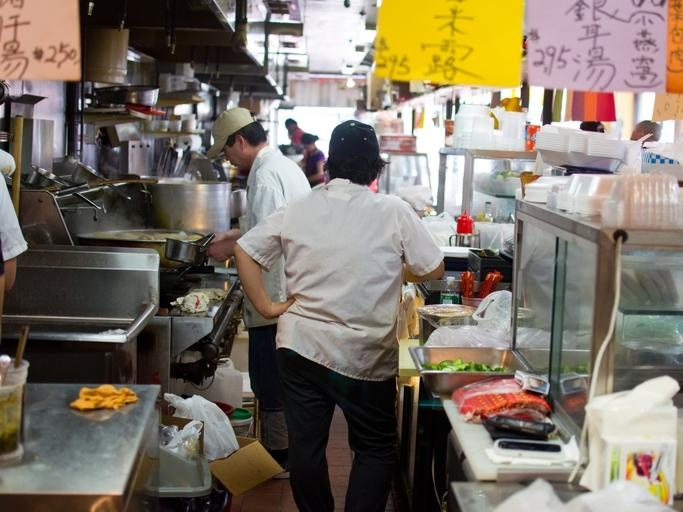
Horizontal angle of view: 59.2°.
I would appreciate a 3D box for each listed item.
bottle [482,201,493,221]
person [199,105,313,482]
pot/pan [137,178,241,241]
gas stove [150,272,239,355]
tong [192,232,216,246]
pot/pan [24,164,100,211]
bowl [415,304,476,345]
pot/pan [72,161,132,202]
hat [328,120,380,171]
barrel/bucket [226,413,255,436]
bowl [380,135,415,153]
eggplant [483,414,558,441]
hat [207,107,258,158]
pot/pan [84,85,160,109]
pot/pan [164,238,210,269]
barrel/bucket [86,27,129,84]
[{"bbox_3d":[1.031,-0.319,4.253,0.069,0.133,0.201,3,9,13],"label":"bottle"},{"bbox_3d":[-0.620,0.193,3.466,0.718,1.955,0.684,3,14,-10],"label":"person"},{"bbox_3d":[-1.061,-0.313,4.130,0.594,0.363,0.596,-1,0,-8],"label":"pot/pan"},{"bbox_3d":[-0.917,0.309,3.291,0.490,0.254,1.113,-10,11,-13],"label":"gas stove"},{"bbox_3d":[-0.743,-0.089,3.276,0.082,0.025,0.085,-7,19,20],"label":"tong"},{"bbox_3d":[-1.423,-0.328,3.076,0.358,0.147,0.384,20,8,-34],"label":"pot/pan"},{"bbox_3d":[0.456,0.295,2.771,0.203,0.146,0.201,0,-1,0],"label":"bowl"},{"bbox_3d":[-1.434,-0.420,3.588,0.429,0.143,0.175,19,-20,-14],"label":"pot/pan"},{"bbox_3d":[0.050,-0.470,2.426,0.227,0.180,0.316,-7,30,-9],"label":"hat"},{"bbox_3d":[-0.564,0.962,3.363,0.137,0.114,0.137,1,-1,0],"label":"barrel/bucket"},{"bbox_3d":[0.666,-1.312,6.992,0.496,0.187,0.493,1,5,0],"label":"bowl"},{"bbox_3d":[0.510,0.495,1.739,0.204,0.051,0.104,4,9,15],"label":"eggplant"},{"bbox_3d":[-0.639,-0.748,3.417,0.335,0.170,0.227,-24,18,34],"label":"hat"},{"bbox_3d":[-1.414,-1.026,3.867,0.405,0.132,0.166,2,9,1],"label":"pot/pan"},{"bbox_3d":[-0.806,-0.025,3.137,0.218,0.162,0.334,-1,9,-12],"label":"pot/pan"},{"bbox_3d":[-1.391,-1.186,3.600,0.177,0.354,0.226,-4,18,-24],"label":"barrel/bucket"}]
